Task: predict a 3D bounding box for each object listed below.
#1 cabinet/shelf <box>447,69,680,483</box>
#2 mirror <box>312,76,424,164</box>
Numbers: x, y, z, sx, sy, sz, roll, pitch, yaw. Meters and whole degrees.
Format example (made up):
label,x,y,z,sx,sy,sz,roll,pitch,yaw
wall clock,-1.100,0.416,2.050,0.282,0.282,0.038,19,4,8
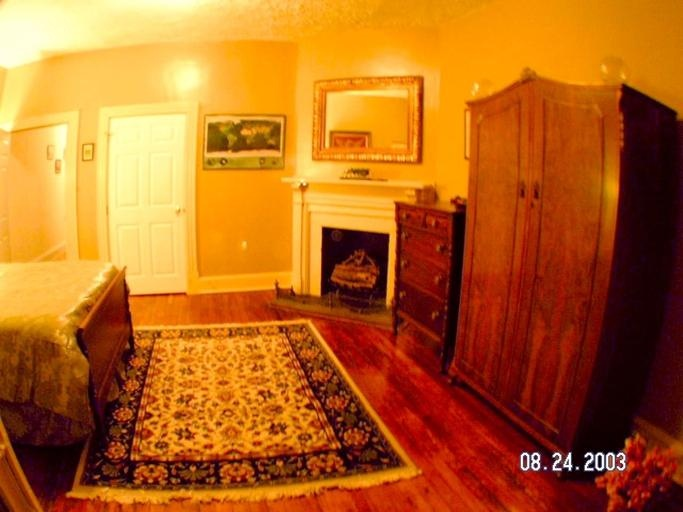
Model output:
label,x,y,z,sx,sy,sz,roll,pitch,yaw
cabinet/shelf,1.324,0.053,3.116,0.467,2.294,1.188,-8,12,-43
mirror,0.229,-1.368,4.960,1.042,0.853,0.078,3,-1,11
